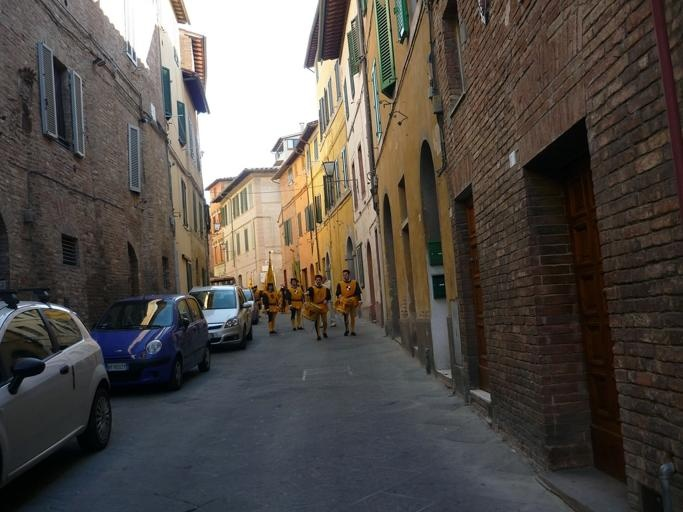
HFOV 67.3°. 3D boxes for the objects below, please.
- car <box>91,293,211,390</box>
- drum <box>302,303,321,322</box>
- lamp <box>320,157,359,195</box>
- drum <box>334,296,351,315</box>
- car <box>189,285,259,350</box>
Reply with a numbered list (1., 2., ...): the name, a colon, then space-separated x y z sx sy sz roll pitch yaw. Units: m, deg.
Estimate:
1. car: -3.853 1.761 10.801 1.206 1.312 2.462 -4 -9 2
2. drum: -1.115 2.018 18.771 0.371 0.571 1.182 -1 -3 -25
3. lamp: -0.220 -4.088 25.278 1.522 2.254 1.201 0 0 -9
4. drum: 0.082 1.788 18.829 0.629 0.832 0.513 -2 -15 26
5. car: -3.815 1.952 17.219 1.309 1.200 2.534 -2 -7 1
